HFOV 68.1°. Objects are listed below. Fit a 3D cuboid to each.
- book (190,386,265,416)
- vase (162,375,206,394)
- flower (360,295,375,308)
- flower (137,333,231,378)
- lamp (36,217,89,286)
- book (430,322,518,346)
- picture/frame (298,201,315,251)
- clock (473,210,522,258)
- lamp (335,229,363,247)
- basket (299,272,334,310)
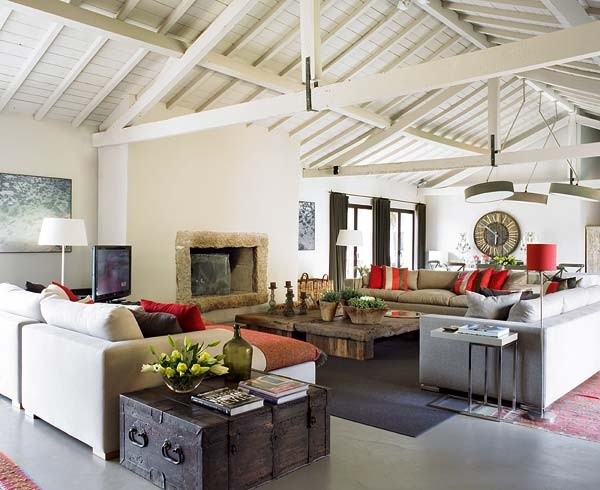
[{"bbox_3d":[-0.391,0.849,2.426,0.341,0.057,0.273,0,0,39],"label":"book"},{"bbox_3d":[-0.686,0.814,2.584,0.133,0.068,0.132,4,-7,-27],"label":"vase"},{"bbox_3d":[0.785,0.671,5.131,0.162,0.135,0.197,1,0,8],"label":"flower"},{"bbox_3d":[-0.624,0.689,2.649,0.357,0.172,0.371,-2,-7,25],"label":"flower"},{"bbox_3d":[-2.699,0.184,4.994,0.473,1.063,0.403,-2,-17,-6],"label":"lamp"},{"bbox_3d":[1.408,0.723,3.551,0.584,0.183,0.384,1,0,39],"label":"book"},{"bbox_3d":[0.168,-0.408,9.616,0.061,1.069,0.553,1,0,39],"label":"picture/frame"},{"bbox_3d":[5.304,-0.287,11.706,1.200,1.351,0.230,-4,-3,42],"label":"clock"},{"bbox_3d":[0.883,-0.120,8.088,0.341,0.190,0.348,0,0,37],"label":"lamp"},{"bbox_3d":[0.332,0.890,8.532,0.371,0.486,0.707,-1,-2,28],"label":"basket"}]
